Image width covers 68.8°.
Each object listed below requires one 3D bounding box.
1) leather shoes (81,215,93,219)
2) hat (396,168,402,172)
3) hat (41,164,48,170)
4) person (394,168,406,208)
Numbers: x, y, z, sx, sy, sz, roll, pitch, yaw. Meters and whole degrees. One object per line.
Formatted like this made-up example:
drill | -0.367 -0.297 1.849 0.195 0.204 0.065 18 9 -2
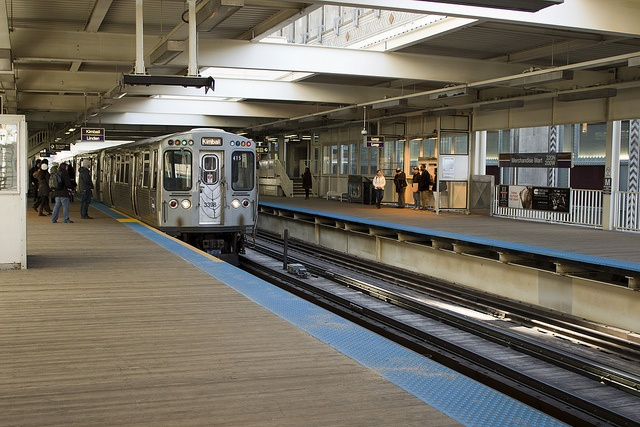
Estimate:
leather shoes | -8.940 0.140 17.807 0.452 0.171 0.149 0 1 -13
hat | 4.234 -2.330 25.078 0.295 0.258 0.284 2 8 11
hat | -10.208 -1.735 17.213 0.189 0.232 0.395 -3 7 -32
person | 4.338 -1.357 25.318 0.575 2.108 0.738 2 6 7
